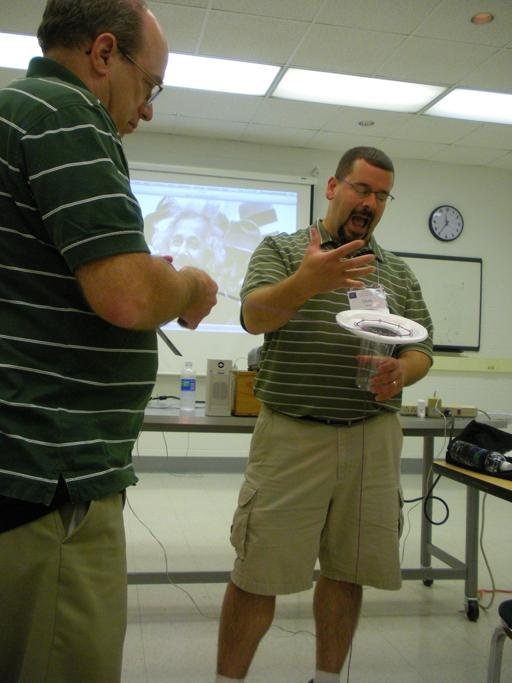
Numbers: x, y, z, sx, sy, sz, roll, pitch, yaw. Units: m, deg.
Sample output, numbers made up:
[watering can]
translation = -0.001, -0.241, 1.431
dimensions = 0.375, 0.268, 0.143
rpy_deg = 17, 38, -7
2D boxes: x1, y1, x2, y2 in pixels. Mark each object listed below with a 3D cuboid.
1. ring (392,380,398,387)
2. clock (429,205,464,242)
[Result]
[ring]
translation = 0.336, 0.102, 1.379
dimensions = 0.013, 0.012, 0.013
rpy_deg = 0, 5, 0
[clock]
translation = 1.841, -1.142, 5.564
dimensions = 0.389, 0.328, 0.067
rpy_deg = 7, -8, -19
